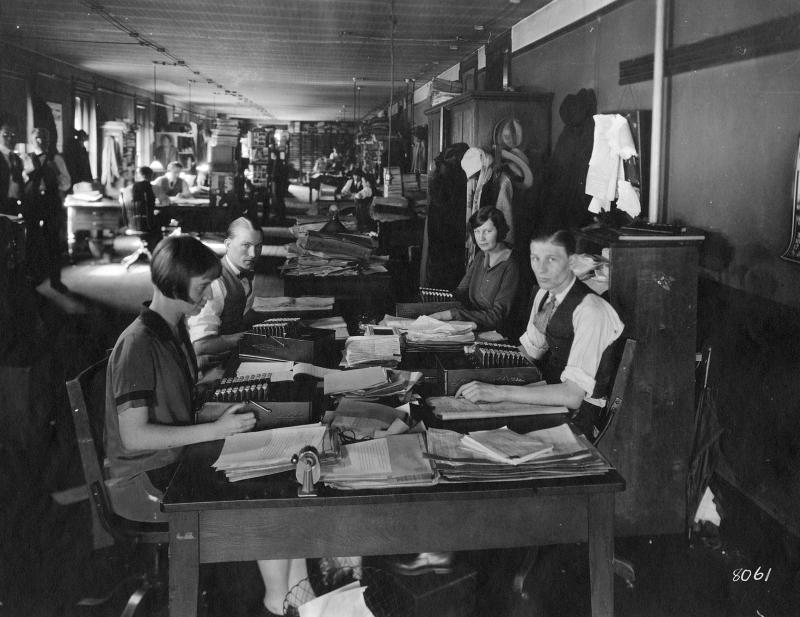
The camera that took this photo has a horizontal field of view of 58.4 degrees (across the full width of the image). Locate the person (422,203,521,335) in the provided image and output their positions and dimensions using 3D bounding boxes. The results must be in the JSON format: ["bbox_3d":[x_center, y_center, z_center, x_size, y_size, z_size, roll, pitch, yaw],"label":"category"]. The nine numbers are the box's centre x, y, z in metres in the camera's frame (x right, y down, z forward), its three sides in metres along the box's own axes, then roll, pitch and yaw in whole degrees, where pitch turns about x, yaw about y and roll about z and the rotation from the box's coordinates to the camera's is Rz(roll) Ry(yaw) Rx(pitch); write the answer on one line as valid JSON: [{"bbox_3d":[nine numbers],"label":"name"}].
[{"bbox_3d":[0.461,-0.256,4.033,0.534,0.881,0.547,-3,10,-22],"label":"person"}]

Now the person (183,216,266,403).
[{"bbox_3d":[-0.731,0.009,2.934,0.293,1.068,0.360,2,20,-3],"label":"person"}]

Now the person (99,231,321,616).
[{"bbox_3d":[-0.660,0.152,3.110,1.058,2.017,0.862,-4,12,-21],"label":"person"}]
